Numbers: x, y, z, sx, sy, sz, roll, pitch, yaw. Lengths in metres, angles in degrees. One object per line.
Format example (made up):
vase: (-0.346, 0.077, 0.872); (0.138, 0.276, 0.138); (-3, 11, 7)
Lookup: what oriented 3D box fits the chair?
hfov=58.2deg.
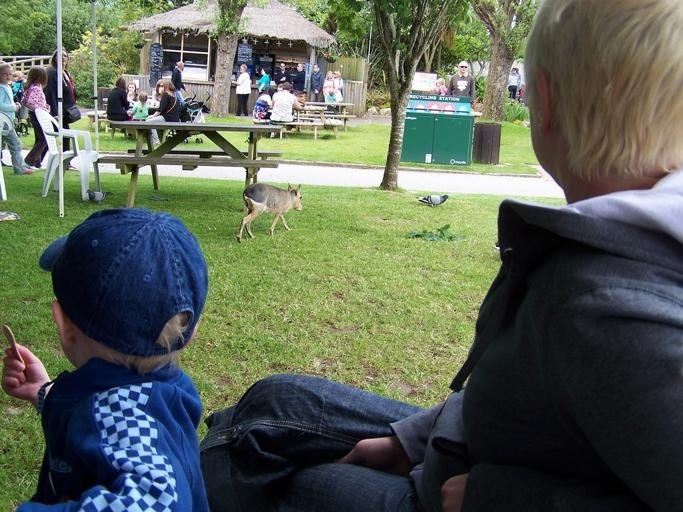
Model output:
chair: (-4.257, -1.603, 9.546); (0.834, 1.290, 2.429); (-4, 17, -27)

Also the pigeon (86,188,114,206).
pigeon: (-3.792, -0.970, 9.584); (0.605, 0.279, 0.202); (-6, 30, 45)

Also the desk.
desk: (-2.275, -1.447, 9.692); (2.479, 1.352, 2.355); (1, 14, -11)

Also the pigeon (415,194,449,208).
pigeon: (1.602, -0.987, 10.836); (0.630, 0.304, 0.213); (5, 17, 37)

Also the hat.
hat: (-0.590, 0.019, 1.630); (0.414, 0.251, 0.321); (43, 35, 21)
